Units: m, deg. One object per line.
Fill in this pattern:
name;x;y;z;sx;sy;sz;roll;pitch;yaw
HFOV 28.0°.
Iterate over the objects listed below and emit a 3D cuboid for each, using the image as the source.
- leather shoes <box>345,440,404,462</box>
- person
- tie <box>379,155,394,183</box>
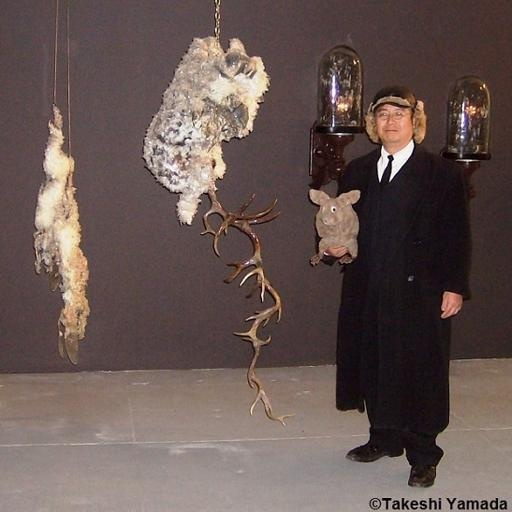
leather shoes;0.510;0.858;4.554;0.268;0.105;0.093;1;-1;-5
person;0.619;0.113;4.434;0.607;1.306;0.301;3;2;17
tie;0.548;-0.367;4.363;0.033;0.133;0.019;11;-13;15
